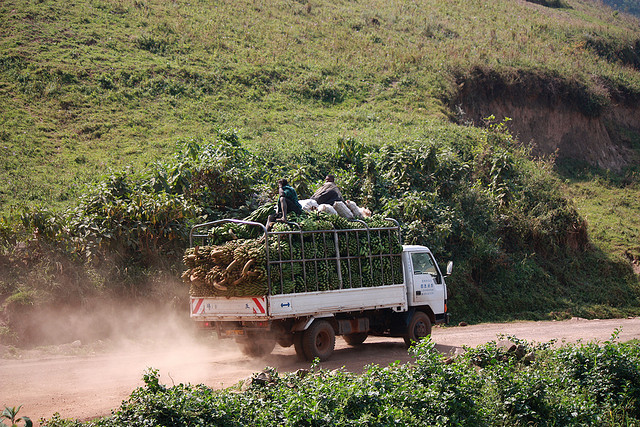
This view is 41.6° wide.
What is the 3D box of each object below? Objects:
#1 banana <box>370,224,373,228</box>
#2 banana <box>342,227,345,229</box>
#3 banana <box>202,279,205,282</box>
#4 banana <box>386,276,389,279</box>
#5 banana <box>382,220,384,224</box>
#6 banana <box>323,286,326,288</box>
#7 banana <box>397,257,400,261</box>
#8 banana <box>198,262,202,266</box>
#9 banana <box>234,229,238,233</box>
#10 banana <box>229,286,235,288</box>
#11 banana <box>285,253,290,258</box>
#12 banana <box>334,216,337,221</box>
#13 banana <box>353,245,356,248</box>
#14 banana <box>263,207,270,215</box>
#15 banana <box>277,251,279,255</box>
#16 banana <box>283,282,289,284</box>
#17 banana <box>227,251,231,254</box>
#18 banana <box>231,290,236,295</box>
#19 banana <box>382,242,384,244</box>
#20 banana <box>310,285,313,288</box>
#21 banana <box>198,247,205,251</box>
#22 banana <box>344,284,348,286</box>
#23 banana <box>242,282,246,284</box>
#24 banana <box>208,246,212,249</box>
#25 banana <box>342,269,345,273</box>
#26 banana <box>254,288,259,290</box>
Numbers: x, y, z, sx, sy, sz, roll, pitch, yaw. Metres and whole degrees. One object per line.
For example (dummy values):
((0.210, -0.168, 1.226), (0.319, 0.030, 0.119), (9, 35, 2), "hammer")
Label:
((2.475, 0.659, 40.613), (0.138, 0.071, 0.143), (-4, 24, -6), "banana")
((1.121, 0.743, 40.156), (0.100, 0.027, 0.103), (-5, 25, -7), "banana")
((-5.465, 3.159, 39.482), (0.157, 0.105, 0.085), (-6, 7, -42), "banana")
((3.233, 3.131, 40.707), (0.096, 0.116, 0.028), (-2, 3, 4), "banana")
((3.075, 0.470, 40.916), (0.091, 0.092, 0.185), (-3, 24, -5), "banana")
((0.195, 3.500, 39.598), (0.084, 0.096, 0.026), (1, 5, -25), "banana")
((3.832, 2.274, 41.040), (0.035, 0.169, 0.156), (5, 3, 37), "banana")
((-5.644, 2.412, 39.620), (0.119, 0.137, 0.034), (-8, 6, -3), "banana")
((-4.029, 0.886, 40.238), (0.144, 0.156, 0.040), (-1, -15, -20), "banana")
((-4.044, 3.445, 38.965), (0.184, 0.070, 0.025), (3, 22, 10), "banana")
((-1.516, 1.986, 39.137), (0.137, 0.161, 0.041), (0, -9, -25), "banana")
((0.722, 0.292, 40.144), (0.159, 0.185, 0.041), (0, -2, 3), "banana")
((1.630, 1.614, 40.210), (0.097, 0.113, 0.024), (-2, -3, -13), "banana")
((-2.673, -0.082, 40.895), (0.079, 0.055, 0.442), (19, 40, 30), "banana")
((-1.964, 1.868, 39.025), (0.134, 0.145, 0.033), (2, -7, -37), "banana")
((-1.558, 3.273, 39.027), (0.178, 0.073, 0.050), (-4, 22, -6), "banana")
((-4.251, 1.858, 39.138), (0.088, 0.100, 0.056), (-1, 22, 1), "banana")
((-4.001, 3.696, 38.979), (0.173, 0.197, 0.046), (9, 1, 25), "banana")
((3.049, 1.465, 40.728), (0.094, 0.105, 0.027), (-9, 8, -9), "banana")
((-0.417, 3.434, 39.399), (0.204, 0.124, 0.049), (-2, -1, -24), "banana")
((-5.590, 1.723, 39.601), (0.276, 0.119, 0.158), (-1, 23, 1), "banana")
((1.237, 3.440, 39.952), (0.097, 0.068, 0.024), (-7, 22, -12), "banana")
((-3.482, 3.255, 38.826), (0.120, 0.062, 0.026), (2, 22, 8), "banana")
((-5.217, 1.617, 39.662), (0.115, 0.064, 0.292), (-7, 25, -13), "banana")
((1.090, 2.771, 39.919), (0.159, 0.043, 0.026), (-37, -9, 1), "banana")
((-2.913, 3.506, 38.736), (0.202, 0.053, 0.053), (4, 24, 13), "banana")
